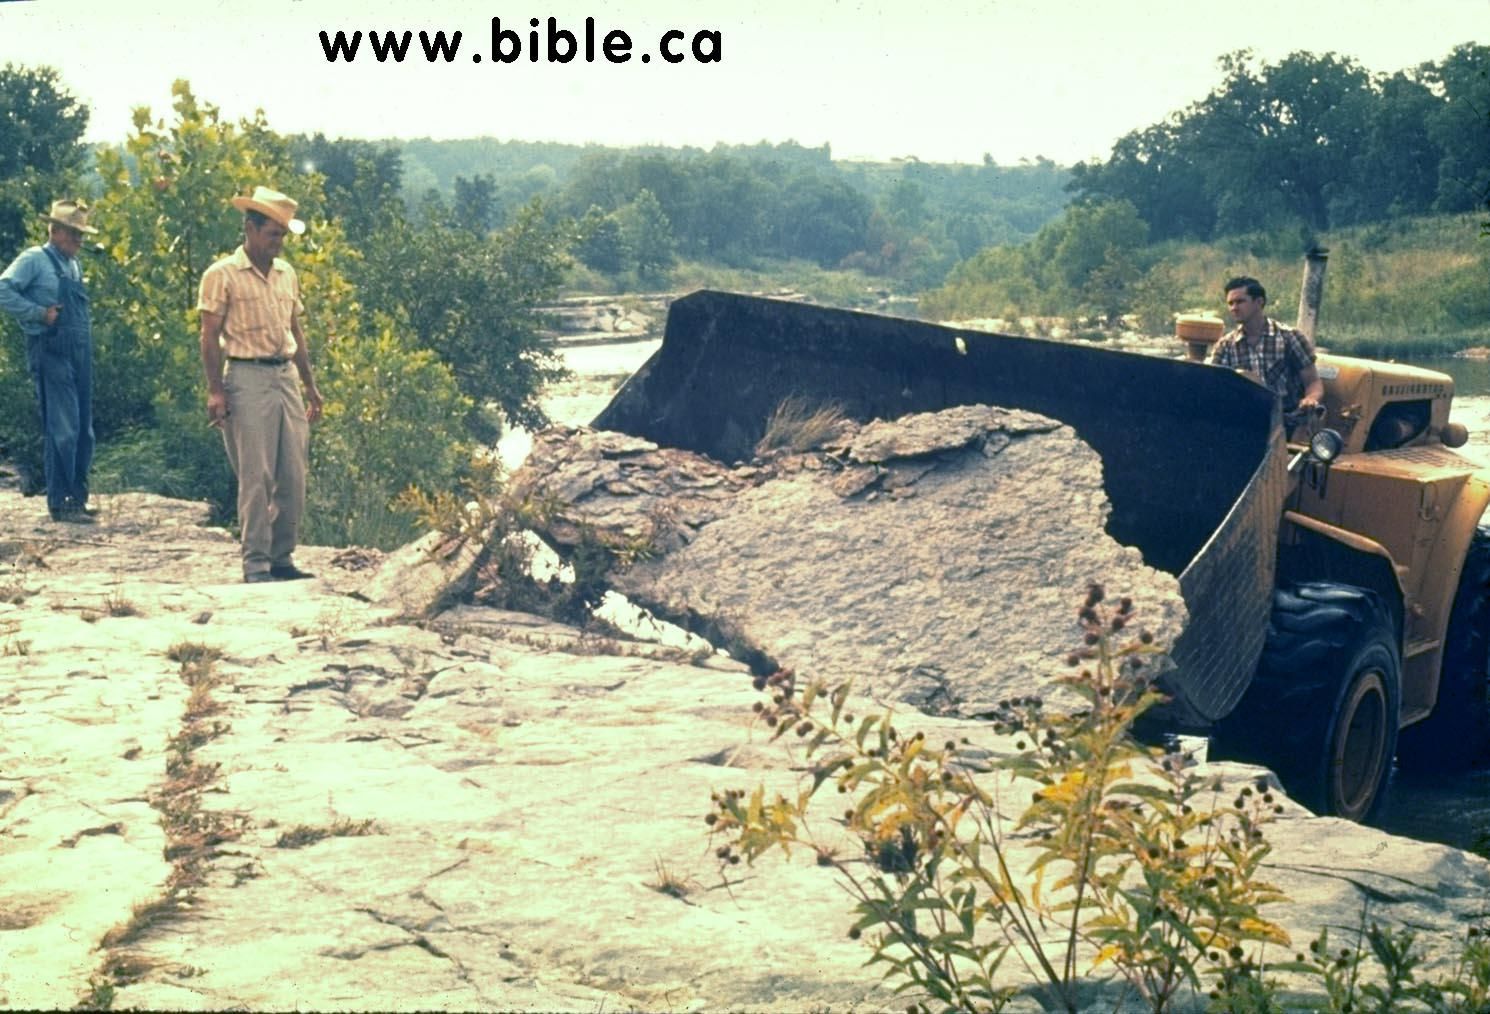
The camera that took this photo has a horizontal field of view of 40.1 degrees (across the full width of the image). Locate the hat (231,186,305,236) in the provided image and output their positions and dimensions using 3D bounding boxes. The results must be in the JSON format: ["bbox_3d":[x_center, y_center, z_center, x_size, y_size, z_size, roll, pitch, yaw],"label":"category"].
[{"bbox_3d":[-3.868,-2.378,16.369,0.490,0.351,0.715,1,14,-17],"label":"hat"}]

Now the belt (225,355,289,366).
[{"bbox_3d":[-3.920,-1.173,16.396,0.479,0.083,0.109,-3,15,-31],"label":"belt"}]

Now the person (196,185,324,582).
[{"bbox_3d":[-3.953,-0.972,16.478,0.966,3.141,0.649,-2,14,-24],"label":"person"}]

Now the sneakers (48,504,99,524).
[{"bbox_3d":[-6.010,0.066,18.154,0.422,0.189,0.146,-1,6,-8],"label":"sneakers"}]
